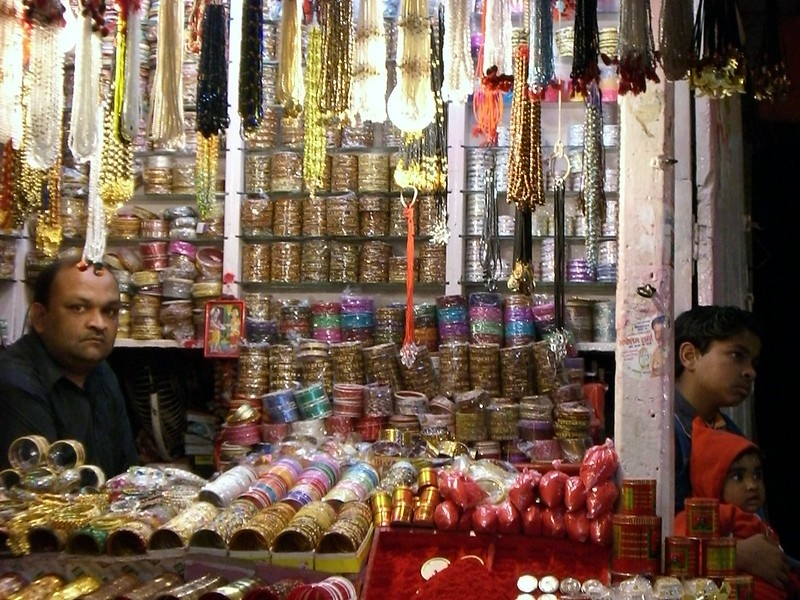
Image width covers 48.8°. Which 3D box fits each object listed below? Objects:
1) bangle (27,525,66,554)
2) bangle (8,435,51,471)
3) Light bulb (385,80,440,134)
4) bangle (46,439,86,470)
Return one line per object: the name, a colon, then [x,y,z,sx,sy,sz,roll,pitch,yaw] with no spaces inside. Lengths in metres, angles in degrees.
bangle: [-0.903,0.609,2.257,0.070,0.077,0.058,-1,42,3]
bangle: [-1.060,0.435,2.509,0.112,0.097,0.075,0,0,-16]
Light bulb: [0.037,-0.566,2.638,0.129,0.189,0.137,3,6,21]
bangle: [-0.966,0.444,2.550,0.097,0.084,0.059,0,0,-25]
